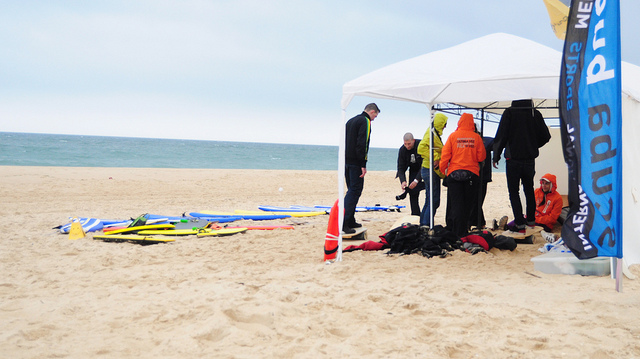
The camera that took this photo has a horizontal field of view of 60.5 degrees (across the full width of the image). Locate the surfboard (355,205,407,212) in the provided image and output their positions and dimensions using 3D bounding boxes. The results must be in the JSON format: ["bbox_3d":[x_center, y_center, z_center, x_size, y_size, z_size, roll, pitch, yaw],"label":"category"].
[{"bbox_3d":[1.807,0.917,16.312,1.479,0.163,0.435,-1,0,-5],"label":"surfboard"}]

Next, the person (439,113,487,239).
[{"bbox_3d":[3.028,-0.065,11.820,0.915,2.685,0.500,4,3,11],"label":"person"}]

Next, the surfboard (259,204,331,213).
[{"bbox_3d":[-0.751,0.862,15.970,1.410,0.152,0.656,2,-1,-18],"label":"surfboard"}]

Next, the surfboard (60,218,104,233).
[{"bbox_3d":[-5.706,1.110,13.459,0.673,0.205,0.435,1,-1,-10],"label":"surfboard"}]

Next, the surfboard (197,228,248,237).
[{"bbox_3d":[-2.163,1.257,13.201,1.456,0.176,0.308,-2,6,-17],"label":"surfboard"}]

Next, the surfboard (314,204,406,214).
[{"bbox_3d":[1.089,0.813,14.899,2.014,0.196,0.441,0,3,-9],"label":"surfboard"}]

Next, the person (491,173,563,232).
[{"bbox_3d":[4.853,0.596,12.722,1.600,1.347,0.822,1,8,-19],"label":"person"}]

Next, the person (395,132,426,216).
[{"bbox_3d":[2.261,-0.248,13.852,1.092,2.272,1.082,1,2,25],"label":"person"}]

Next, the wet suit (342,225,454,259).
[{"bbox_3d":[1.843,1.317,11.824,2.024,0.533,0.812,3,3,9],"label":"wet suit"}]

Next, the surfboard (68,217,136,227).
[{"bbox_3d":[-5.348,1.066,13.587,1.729,0.220,0.576,-4,0,1],"label":"surfboard"}]
